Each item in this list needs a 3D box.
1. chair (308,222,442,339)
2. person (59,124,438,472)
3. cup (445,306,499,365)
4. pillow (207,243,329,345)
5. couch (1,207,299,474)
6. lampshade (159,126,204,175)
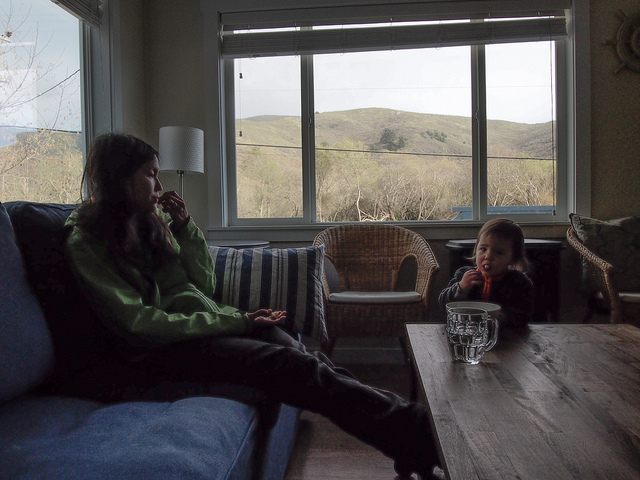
[{"bbox_3d":[0.291,0.335,2.905,0.794,0.832,0.664,0,0,-21],"label":"chair"},{"bbox_3d":[-0.418,0.108,2.178,1.812,1.276,0.800,9,5,7],"label":"person"},{"bbox_3d":[0.485,0.309,1.562,0.116,0.151,0.159,2,-2,-36],"label":"cup"},{"bbox_3d":[-0.309,0.272,2.246,0.665,0.506,0.241,-4,-17,-4],"label":"pillow"},{"bbox_3d":[-0.574,0.341,1.604,0.528,0.705,1.003,-2,-1,1],"label":"couch"},{"bbox_3d":[-0.828,-0.544,3.007,0.232,0.270,0.241,1,3,-10],"label":"lampshade"}]
